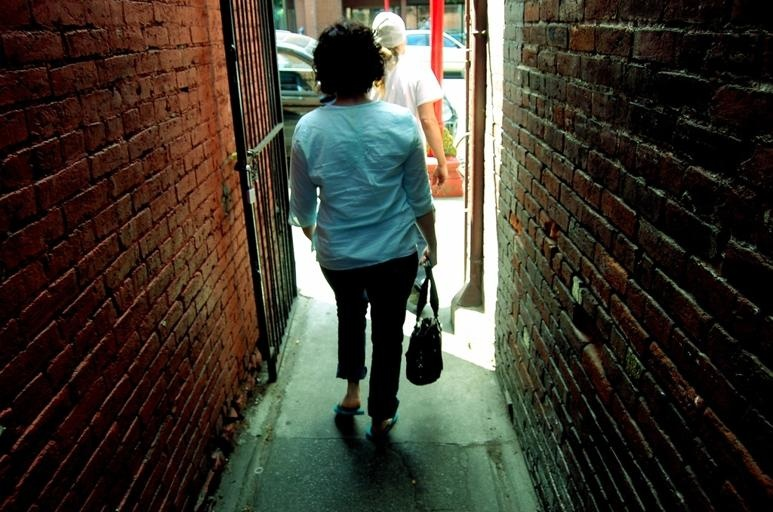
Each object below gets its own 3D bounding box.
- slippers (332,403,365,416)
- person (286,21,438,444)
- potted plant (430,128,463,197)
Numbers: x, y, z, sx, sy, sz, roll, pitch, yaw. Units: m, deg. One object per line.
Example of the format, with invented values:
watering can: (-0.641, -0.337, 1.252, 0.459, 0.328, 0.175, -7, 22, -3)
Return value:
slippers: (-0.238, 0.933, 3.656, 0.136, 0.040, 0.080, 2, 3, -3)
person: (-0.140, -0.110, 3.386, 0.711, 2.237, 0.562, 16, 27, 28)
potted plant: (0.789, -1.203, 7.879, 0.515, 0.832, 0.565, 3, 13, 31)
